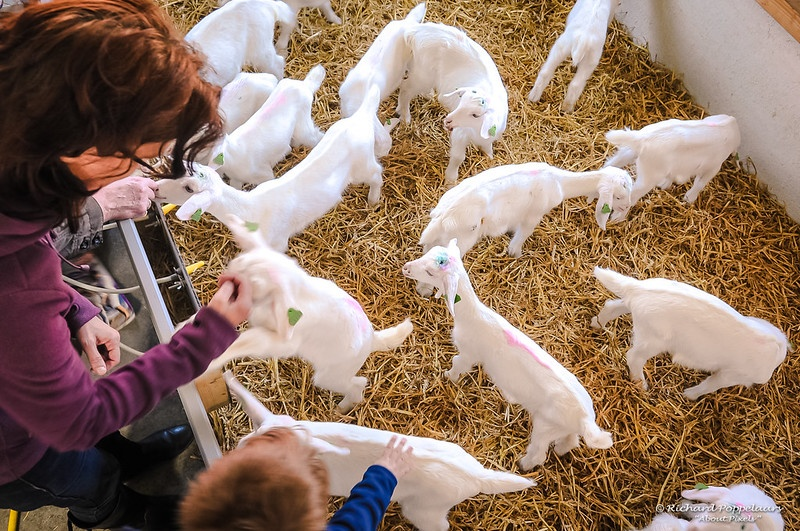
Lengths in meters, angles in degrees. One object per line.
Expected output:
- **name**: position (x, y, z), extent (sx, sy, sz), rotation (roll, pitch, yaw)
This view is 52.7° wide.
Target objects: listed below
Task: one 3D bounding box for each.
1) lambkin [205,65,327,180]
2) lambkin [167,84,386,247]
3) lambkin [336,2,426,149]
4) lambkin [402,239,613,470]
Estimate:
- **lambkin**: position (-0.846, -0.990, 6.051), extent (0.502, 0.687, 1.022), rotation (40, 83, -1)
- **lambkin**: position (-0.862, -0.676, 5.600), extent (1.085, 0.659, 0.369), rotation (-40, 71, -14)
- **lambkin**: position (-0.134, -1.438, 6.317), extent (0.274, 1.207, 0.687), rotation (27, 18, 11)
- **lambkin**: position (0.735, 0.682, 5.614), extent (0.378, 0.835, 1.356), rotation (-37, 74, -17)
